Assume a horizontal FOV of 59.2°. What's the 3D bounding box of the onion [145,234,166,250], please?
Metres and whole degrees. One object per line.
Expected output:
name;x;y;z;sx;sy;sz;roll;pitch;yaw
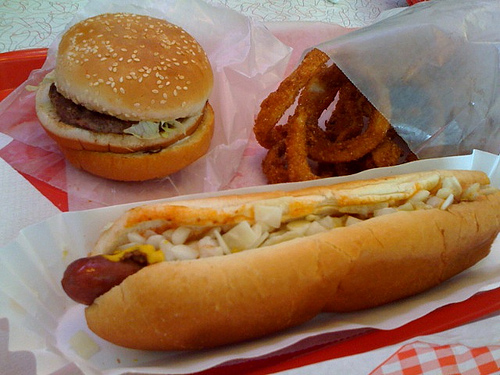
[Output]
onion;-0.405;0.229;1.868;0.053;0.063;0.035;-4;89;34

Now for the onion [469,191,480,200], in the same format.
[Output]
onion;1.096;0.040;2.151;0.040;0.031;0.014;-46;40;19

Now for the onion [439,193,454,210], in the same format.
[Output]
onion;0.938;0.065;2.085;0.019;0.068;0.074;35;23;6

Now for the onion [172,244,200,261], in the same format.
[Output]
onion;-0.267;0.266;1.844;0.106;0.050;0.088;-9;52;-8

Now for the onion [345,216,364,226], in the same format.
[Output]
onion;0.465;0.148;2.010;0.044;0.013;0.048;-9;31;7

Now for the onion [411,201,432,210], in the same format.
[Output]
onion;0.812;0.074;2.075;0.045;0.023;0.057;-11;11;-27

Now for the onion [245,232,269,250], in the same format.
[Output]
onion;0.034;0.216;1.896;0.020;0.074;0.068;42;104;16

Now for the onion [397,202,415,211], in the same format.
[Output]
onion;0.741;0.084;2.064;0.051;0.041;0.044;-6;93;0

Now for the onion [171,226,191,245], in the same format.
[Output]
onion;-0.294;0.202;1.884;0.065;0.029;0.068;38;77;19

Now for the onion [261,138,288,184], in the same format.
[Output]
onion;0.151;-0.145;2.508;0.074;0.232;0.182;12;26;-15

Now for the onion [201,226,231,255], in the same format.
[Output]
onion;-0.148;0.223;1.879;0.036;0.110;0.110;-35;61;-24

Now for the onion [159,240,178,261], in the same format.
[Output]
onion;-0.340;0.260;1.837;0.054;0.033;0.097;-27;72;-19

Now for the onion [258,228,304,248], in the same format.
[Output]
onion;0.133;0.216;1.903;0.131;0.034;0.028;-21;76;-11
